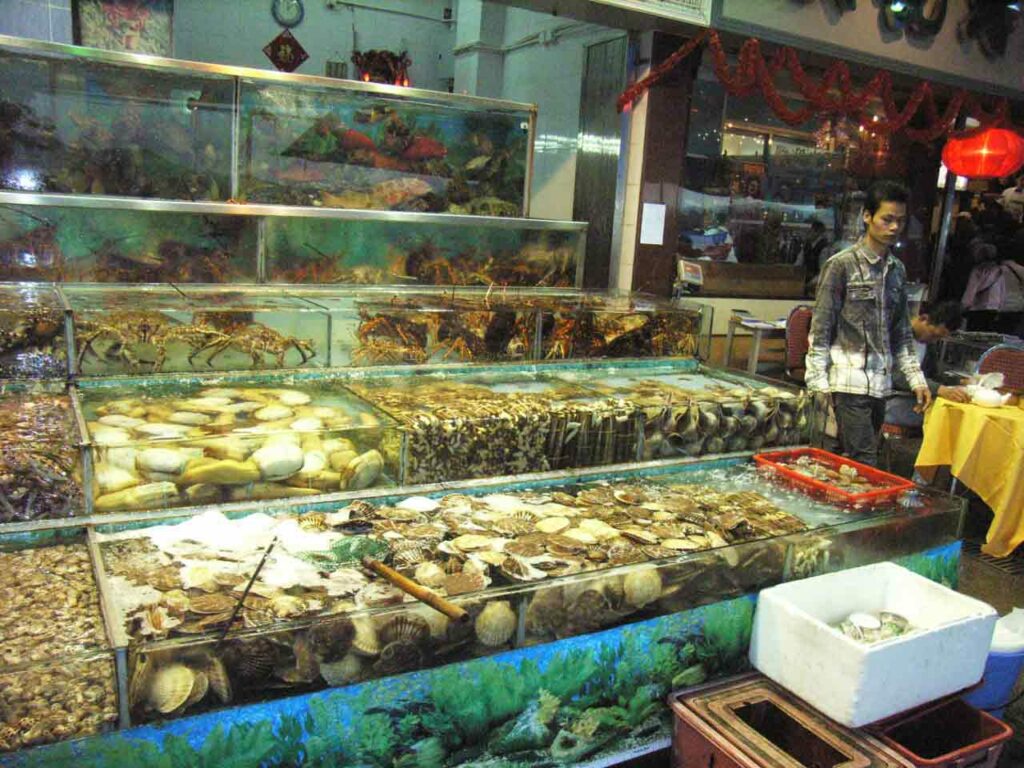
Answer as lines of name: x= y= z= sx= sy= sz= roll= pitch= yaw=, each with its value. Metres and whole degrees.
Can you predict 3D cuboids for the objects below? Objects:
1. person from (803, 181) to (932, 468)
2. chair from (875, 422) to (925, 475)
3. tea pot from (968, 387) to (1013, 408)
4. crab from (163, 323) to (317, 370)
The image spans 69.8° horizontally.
person: x=1.687 y=-0.268 z=3.636 sx=0.565 sy=1.441 sz=0.509 roll=1 pitch=5 yaw=-4
chair: x=2.695 y=0.446 z=5.101 sx=0.268 sy=0.272 sz=0.470 roll=9 pitch=11 yaw=16
tea pot: x=2.720 y=0.064 z=4.174 sx=0.160 sy=0.049 sz=0.146 roll=-2 pitch=11 yaw=0
crab: x=-1.083 y=-0.174 z=2.904 sx=0.658 sy=0.145 sz=0.258 roll=-1 pitch=11 yaw=-19
